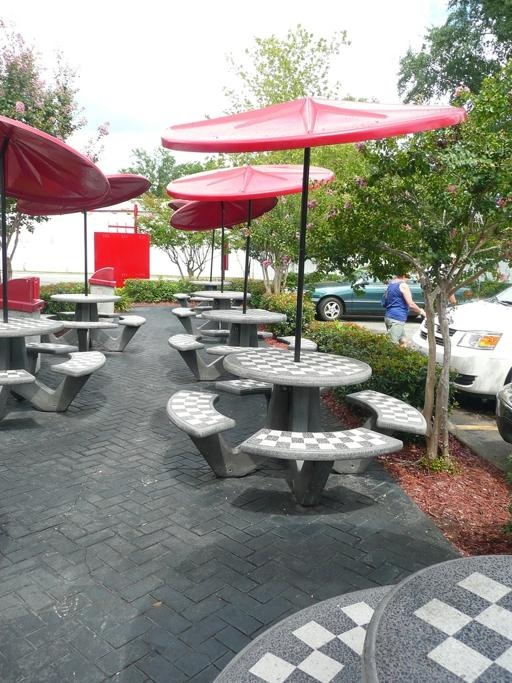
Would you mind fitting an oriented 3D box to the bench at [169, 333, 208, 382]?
[{"bbox_3d":[-1.079,0.230,8.039,0.731,0.577,1.905,-4,8,-6],"label":"bench"}]

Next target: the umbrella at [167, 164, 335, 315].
[{"bbox_3d":[-0.187,-1.568,8.169,3.054,2.942,2.870,-2,11,1],"label":"umbrella"}]

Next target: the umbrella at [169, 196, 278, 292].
[{"bbox_3d":[-0.679,-2.229,9.563,2.166,1.707,2.204,0,9,-10],"label":"umbrella"}]

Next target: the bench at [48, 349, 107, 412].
[{"bbox_3d":[-2.222,0.459,6.076,0.632,0.509,1.666,2,6,-14],"label":"bench"}]

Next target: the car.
[{"bbox_3d":[3.998,-1.459,15.378,4.241,1.361,1.832,1,4,-7],"label":"car"}]

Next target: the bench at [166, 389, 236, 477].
[{"bbox_3d":[-0.483,0.858,3.987,0.519,0.628,1.075,2,8,-10],"label":"bench"}]

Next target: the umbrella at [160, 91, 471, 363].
[{"bbox_3d":[0.459,-1.163,3.766,1.529,1.292,1.345,1,20,6],"label":"umbrella"}]

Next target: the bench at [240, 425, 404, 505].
[{"bbox_3d":[0.435,0.725,3.281,1.284,0.558,0.640,1,15,4],"label":"bench"}]
